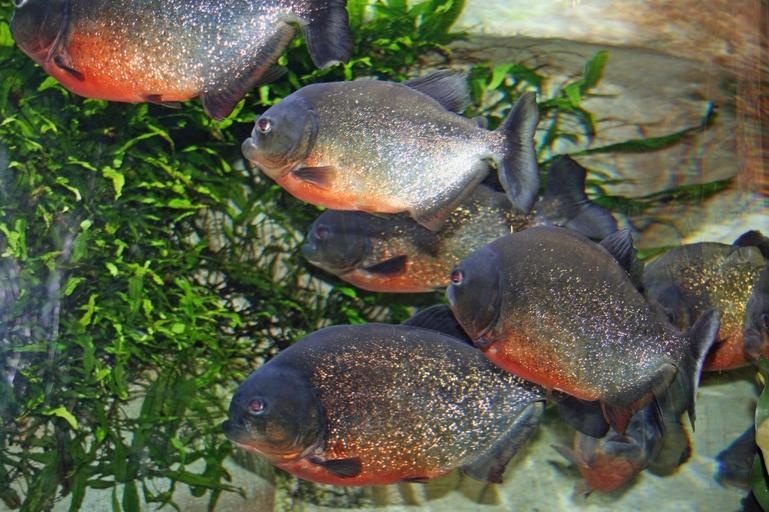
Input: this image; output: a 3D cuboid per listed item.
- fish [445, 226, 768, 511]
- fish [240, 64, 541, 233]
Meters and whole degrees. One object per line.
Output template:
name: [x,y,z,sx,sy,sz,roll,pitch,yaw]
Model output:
fish: [0.398,0.104,1.728,0.515,0.148,0.332,21,71,9]
fish: [0.008,-0.224,1.735,0.601,0.153,0.295,5,87,15]
